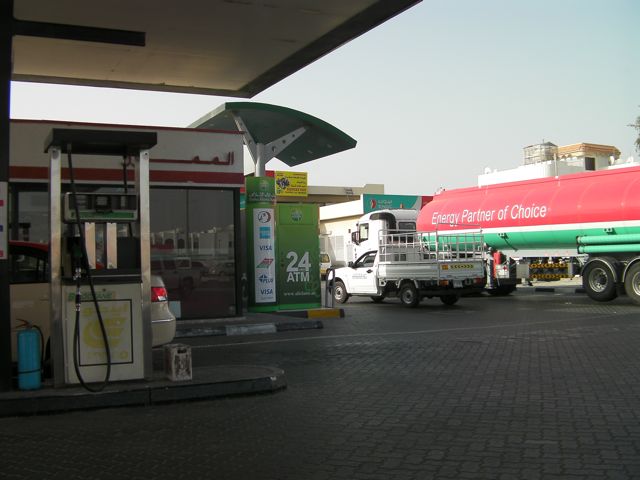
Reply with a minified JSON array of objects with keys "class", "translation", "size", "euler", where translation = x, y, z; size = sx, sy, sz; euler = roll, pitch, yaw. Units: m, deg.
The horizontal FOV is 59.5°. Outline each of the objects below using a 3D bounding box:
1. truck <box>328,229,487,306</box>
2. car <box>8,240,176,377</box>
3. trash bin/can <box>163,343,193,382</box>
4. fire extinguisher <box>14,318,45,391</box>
[{"class":"truck","translation":[3.225,0.961,21.636],"size":[2.757,2.395,5.941],"euler":[2,0,-42]},{"class":"car","translation":[-4.209,1.130,10.970],"size":[2.539,2.096,6.962],"euler":[-4,-3,-15]},{"class":"trash bin/can","translation":[-1.996,1.709,7.781],"size":[0.405,0.412,0.379],"euler":[1,-8,-16]},{"class":"fire extinguisher","translation":[-3.786,1.520,7.276],"size":[0.283,0.840,0.260],"euler":[-4,-4,-29]}]
